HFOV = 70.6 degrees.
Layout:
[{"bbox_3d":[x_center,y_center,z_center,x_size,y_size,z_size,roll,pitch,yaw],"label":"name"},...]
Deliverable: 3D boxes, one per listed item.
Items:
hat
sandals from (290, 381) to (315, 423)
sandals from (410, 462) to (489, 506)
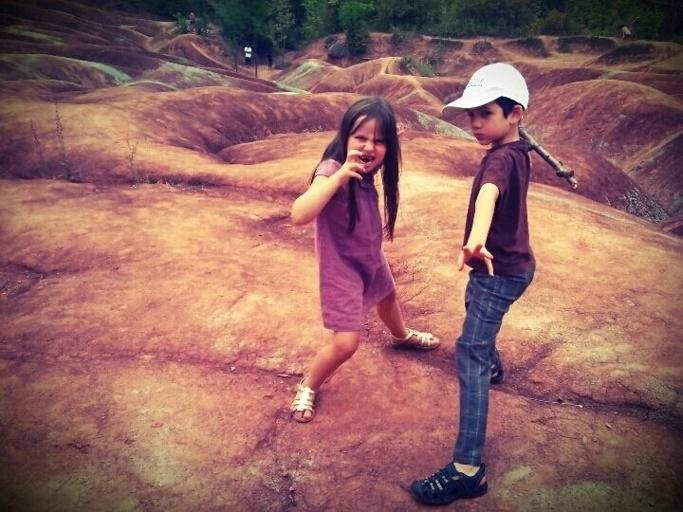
[{"bbox_3d":[0.989,-1.123,3.306,0.467,0.239,0.343,3,4,-3],"label":"hat"},{"bbox_3d":[-0.303,1.075,3.610,0.133,0.123,0.317,4,30,-3],"label":"sandals"},{"bbox_3d":[0.702,1.493,3.255,0.548,0.242,0.217,-1,9,-2],"label":"sandals"}]
